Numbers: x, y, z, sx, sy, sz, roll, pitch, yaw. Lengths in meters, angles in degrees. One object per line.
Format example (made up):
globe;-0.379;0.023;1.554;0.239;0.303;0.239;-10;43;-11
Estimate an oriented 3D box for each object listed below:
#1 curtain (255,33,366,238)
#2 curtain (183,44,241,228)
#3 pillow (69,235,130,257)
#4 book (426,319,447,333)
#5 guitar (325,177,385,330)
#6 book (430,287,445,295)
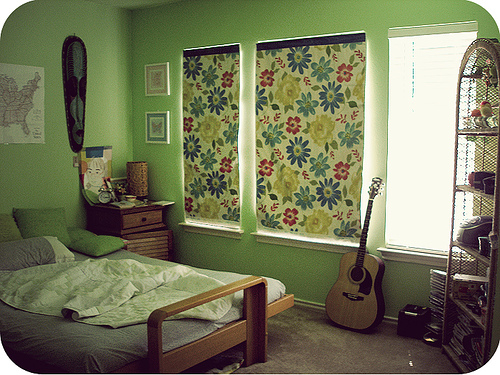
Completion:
curtain;0.598;-0.534;4.255;1.202;2.047;0.170;3;9;30
curtain;-0.493;-0.610;4.873;0.845;2.138;0.035;5;8;30
pillow;-1.666;0.614;4.319;0.273;0.101;0.308;8;10;29
book;1.689;1.253;3.637;0.173;0.045;0.188;-3;11;8
guitar;1.008;0.620;3.829;0.537;1.384;0.389;2;8;18
book;1.662;0.918;3.566;0.013;0.047;0.136;-5;9;-23
